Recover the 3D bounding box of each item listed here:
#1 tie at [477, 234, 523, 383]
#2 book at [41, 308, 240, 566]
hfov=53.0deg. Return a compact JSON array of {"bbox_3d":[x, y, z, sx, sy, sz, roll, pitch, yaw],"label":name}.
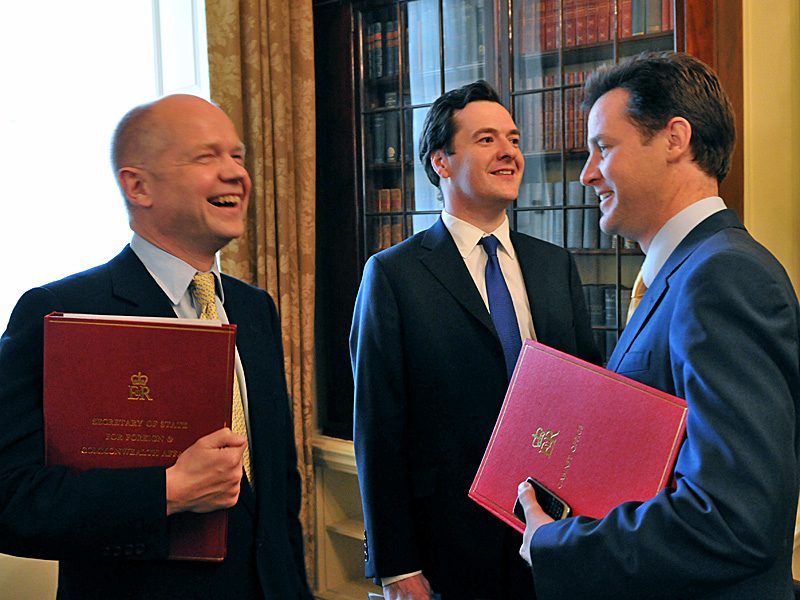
[{"bbox_3d":[0.318,0.024,2.534,0.100,0.422,0.036,-10,-25,-2],"label":"tie"},{"bbox_3d":[-0.615,0.319,1.870,0.499,0.734,0.124,2,8,-3],"label":"book"}]
